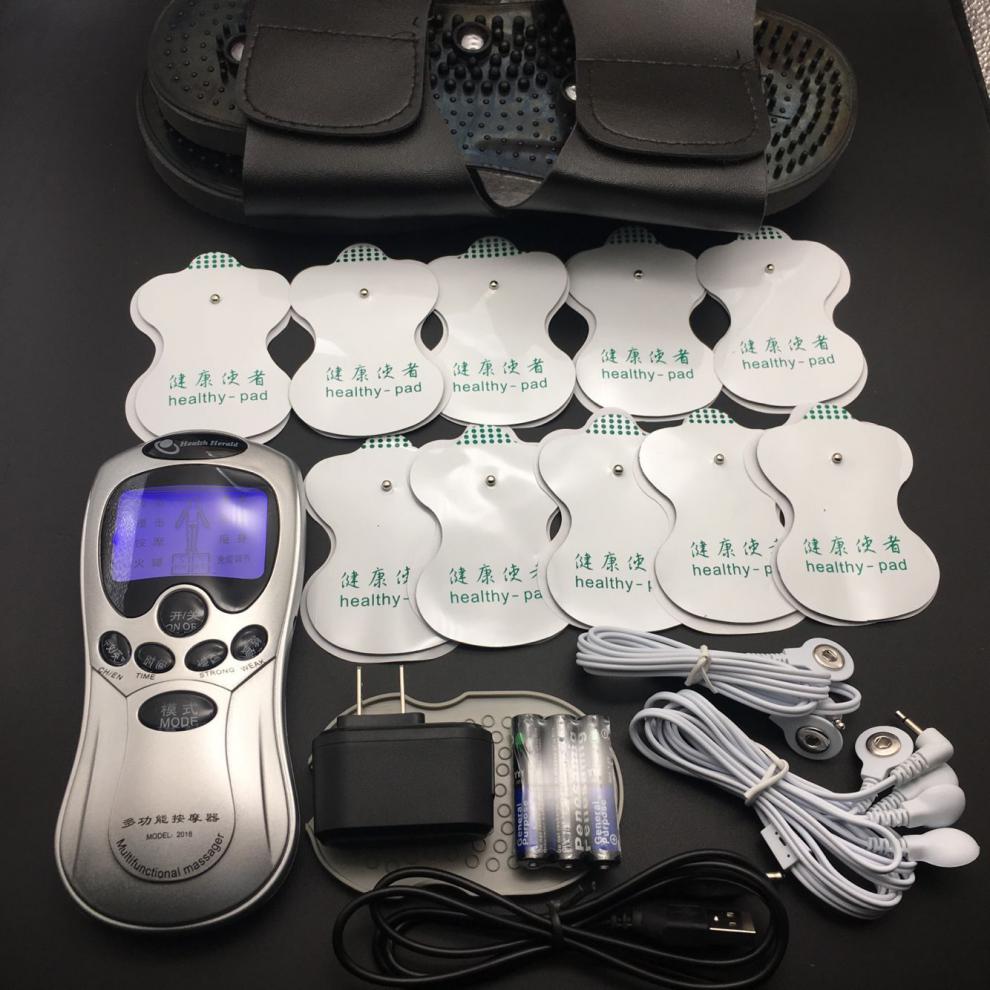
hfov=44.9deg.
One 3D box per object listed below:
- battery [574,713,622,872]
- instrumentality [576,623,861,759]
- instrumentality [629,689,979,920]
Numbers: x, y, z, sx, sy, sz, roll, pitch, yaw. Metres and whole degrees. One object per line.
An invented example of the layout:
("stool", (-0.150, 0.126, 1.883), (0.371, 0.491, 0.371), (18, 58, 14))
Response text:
("battery", (0.074, 0.210, 0.853), (0.030, 0.029, 0.100), (6, 49, -1))
("instrumentality", (0.166, 0.144, 0.877), (0.184, 0.047, 0.098), (6, 61, 12))
("instrumentality", (0.222, 0.205, 0.860), (0.162, 0.037, 0.208), (-41, 66, -20))
